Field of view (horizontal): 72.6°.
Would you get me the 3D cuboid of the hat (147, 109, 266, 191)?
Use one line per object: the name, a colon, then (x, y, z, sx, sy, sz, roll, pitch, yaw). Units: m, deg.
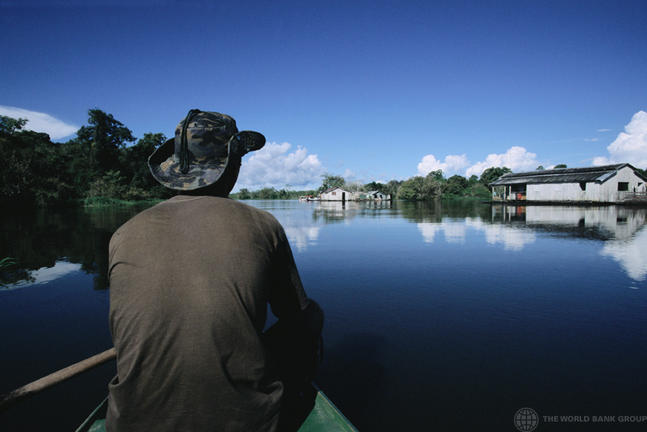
hat: (-1.289, -0.665, 4.670, 0.708, 0.446, 0.984, 11, 36, 24)
